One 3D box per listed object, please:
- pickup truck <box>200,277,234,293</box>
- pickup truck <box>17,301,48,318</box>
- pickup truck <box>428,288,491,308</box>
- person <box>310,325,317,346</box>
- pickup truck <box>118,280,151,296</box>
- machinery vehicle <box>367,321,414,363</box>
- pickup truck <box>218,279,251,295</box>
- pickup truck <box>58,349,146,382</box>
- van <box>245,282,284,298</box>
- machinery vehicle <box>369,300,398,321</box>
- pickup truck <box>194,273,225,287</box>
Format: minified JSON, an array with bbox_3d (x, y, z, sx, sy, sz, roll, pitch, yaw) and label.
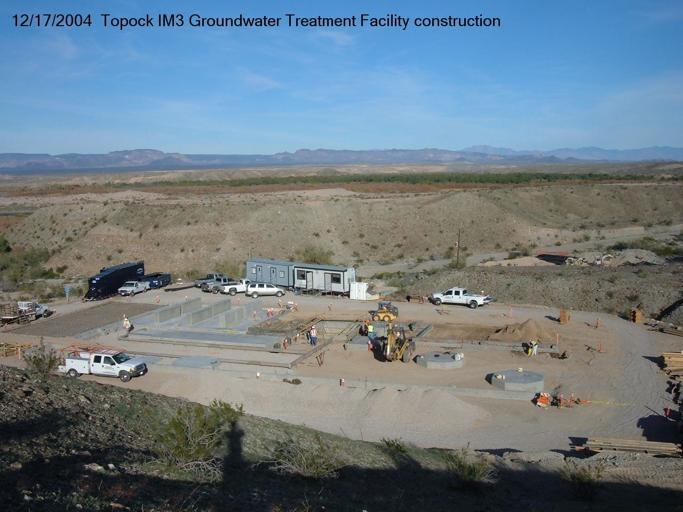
[{"bbox_3d":[-11.471,2.732,46.552,2.812,0.919,1.451,-6,13,-24],"label":"pickup truck"},{"bbox_3d":[-23.639,4.072,39.048,1.306,0.890,1.992,14,16,39],"label":"pickup truck"},{"bbox_3d":[9.475,3.422,40.929,4.330,0.993,1.763,2,5,17],"label":"pickup truck"},{"bbox_3d":[-1.784,5.267,32.826,0.602,0.893,1.204,11,6,-2],"label":"person"},{"bbox_3d":[-18.899,2.980,46.444,1.414,1.301,2.145,12,7,23],"label":"pickup truck"},{"bbox_3d":[2.953,5.190,31.683,2.962,1.578,3.935,10,14,5],"label":"machinery vehicle"},{"bbox_3d":[-9.483,2.851,45.595,2.473,0.846,1.209,-4,15,-9],"label":"pickup truck"},{"bbox_3d":[-13.124,6.058,28.278,5.046,1.028,1.674,1,12,3],"label":"pickup truck"},{"bbox_3d":[-6.681,2.982,44.683,3.279,0.825,1.305,-1,10,0],"label":"van"},{"bbox_3d":[2.923,3.872,35.529,1.844,0.860,1.460,-1,5,2],"label":"machinery vehicle"},{"bbox_3d":[-12.240,2.474,47.744,2.906,0.967,1.463,-7,15,-24],"label":"pickup truck"}]
